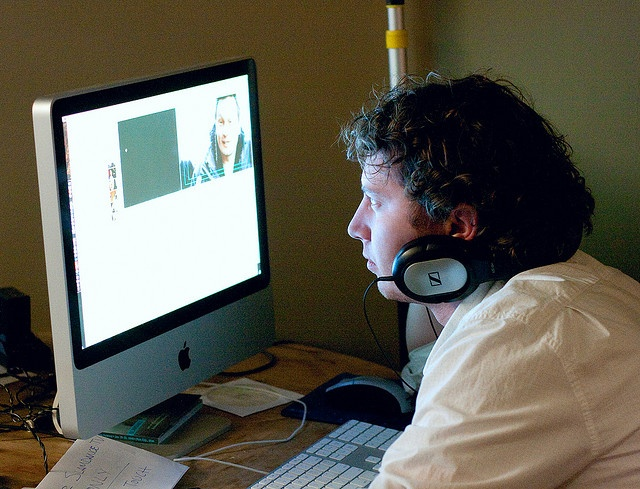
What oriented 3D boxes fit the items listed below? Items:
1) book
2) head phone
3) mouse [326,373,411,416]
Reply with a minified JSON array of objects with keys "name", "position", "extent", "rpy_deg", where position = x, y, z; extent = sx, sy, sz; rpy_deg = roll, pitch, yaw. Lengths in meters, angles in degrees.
[{"name":"book","position":[-0.323,0.334,1.231],"extent":[0.085,0.019,0.092],"rpy_deg":[9,25,34]},{"name":"head phone","position":[0.247,0.029,1.037],"extent":[0.179,0.061,0.136],"rpy_deg":[-18,-1,0]},{"name":"mouse","position":[0.104,0.295,1.311],"extent":[0.138,0.044,0.071],"rpy_deg":[6,8,20]}]
